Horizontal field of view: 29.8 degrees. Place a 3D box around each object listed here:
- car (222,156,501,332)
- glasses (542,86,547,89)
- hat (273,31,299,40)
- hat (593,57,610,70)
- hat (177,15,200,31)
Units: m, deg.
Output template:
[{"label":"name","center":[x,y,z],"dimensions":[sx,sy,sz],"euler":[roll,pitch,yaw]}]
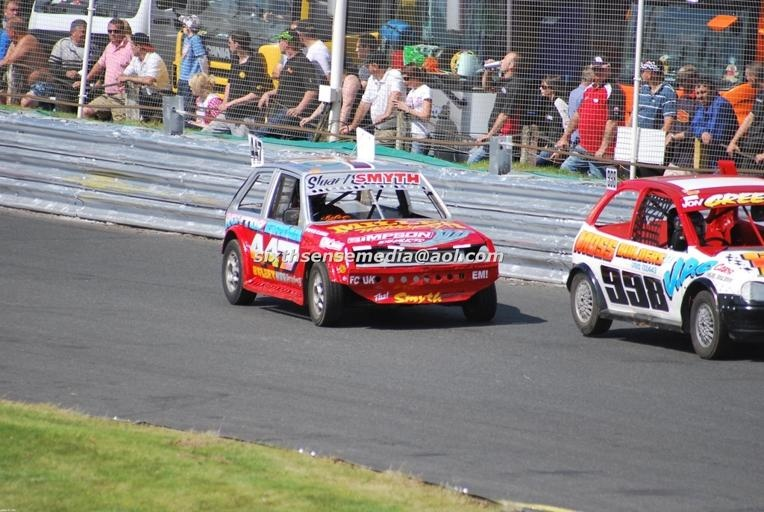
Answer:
[{"label":"car","center":[-0.323,-0.116,17.507],"dimensions":[3.388,1.847,1.972],"euler":[13,15,41]},{"label":"glasses","center":[2.415,-2.499,21.305],"dimensions":[0.058,0.054,0.015],"euler":[0,1,11]},{"label":"hat","center":[-1.445,-3.455,22.520],"dimensions":[0.228,0.088,0.221],"euler":[4,8,14]},{"label":"hat","center":[3.180,-2.810,20.897],"dimensions":[0.044,0.171,0.308],"euler":[-8,16,-44]},{"label":"hat","center":[-3.122,-3.824,23.454],"dimensions":[0.300,0.200,0.155],"euler":[16,-33,-11]}]
